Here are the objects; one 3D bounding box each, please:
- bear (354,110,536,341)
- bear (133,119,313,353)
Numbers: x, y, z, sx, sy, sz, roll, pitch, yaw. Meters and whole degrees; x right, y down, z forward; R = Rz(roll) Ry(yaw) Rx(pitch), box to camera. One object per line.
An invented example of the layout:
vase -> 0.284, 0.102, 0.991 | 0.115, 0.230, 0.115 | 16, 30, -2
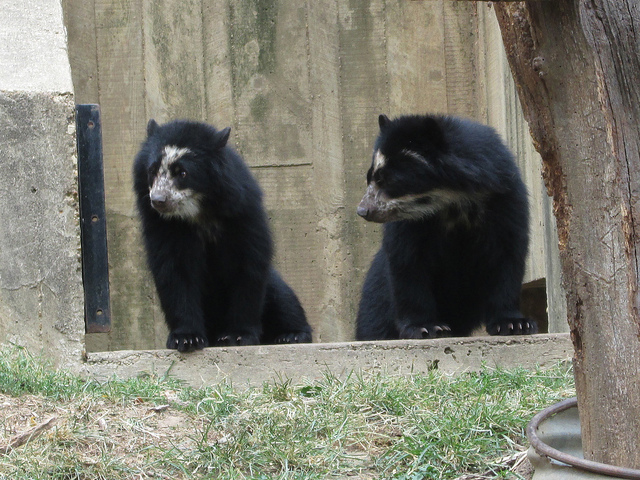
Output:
bear -> 1.074, -0.166, 9.369 | 1.141, 1.921, 2.282 | -7, -4, 31
bear -> -0.783, 0.058, 9.728 | 1.154, 1.920, 2.302 | -3, -6, 16
